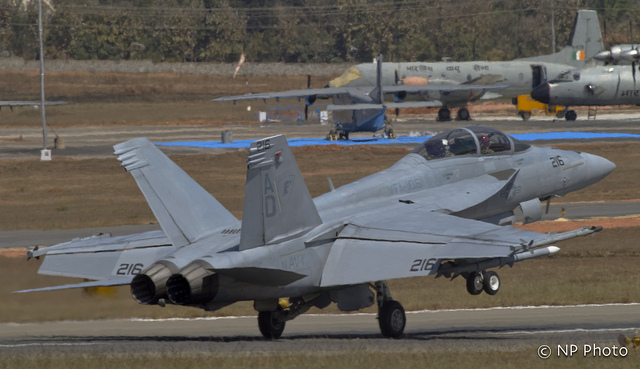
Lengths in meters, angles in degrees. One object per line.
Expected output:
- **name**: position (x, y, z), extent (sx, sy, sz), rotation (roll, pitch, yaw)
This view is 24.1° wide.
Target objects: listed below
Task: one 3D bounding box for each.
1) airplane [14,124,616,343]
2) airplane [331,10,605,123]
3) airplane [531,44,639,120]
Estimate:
- **airplane**: position (1.221, 5.331, 166.120), extent (54.282, 22.871, 8.894), rotation (-4, 10, -4)
- **airplane**: position (22.173, -16.093, 218.615), extent (43.893, 12.905, 35.714), rotation (-5, -12, 3)
- **airplane**: position (38.864, -14.258, 211.686), extent (15.010, 10.660, 6.562), rotation (1, 11, 27)
